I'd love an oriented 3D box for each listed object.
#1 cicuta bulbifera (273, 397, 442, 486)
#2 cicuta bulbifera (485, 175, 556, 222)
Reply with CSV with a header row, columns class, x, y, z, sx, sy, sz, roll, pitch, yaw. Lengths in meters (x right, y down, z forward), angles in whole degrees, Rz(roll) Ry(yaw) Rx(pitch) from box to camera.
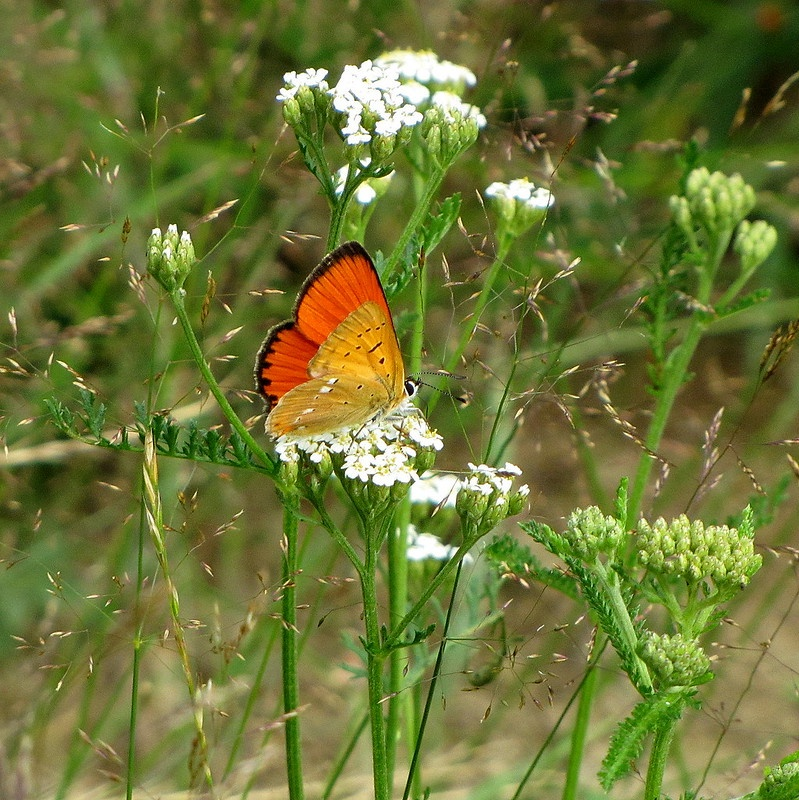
class,x,y,z,sx,sy,sz,roll,pitch,yaw
cicuta bulbifera,-0.088,0.100,2.970,0.285,0.156,0.282,7,1,-1
cicuta bulbifera,0.388,-0.643,3.338,0.172,0.161,0.088,1,83,-3
